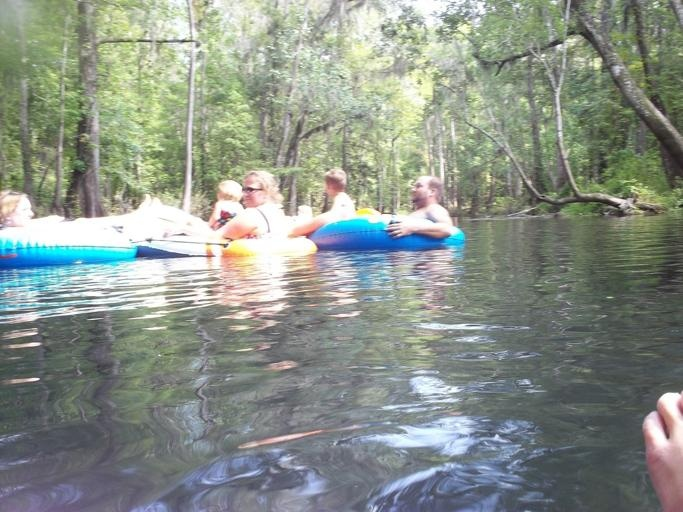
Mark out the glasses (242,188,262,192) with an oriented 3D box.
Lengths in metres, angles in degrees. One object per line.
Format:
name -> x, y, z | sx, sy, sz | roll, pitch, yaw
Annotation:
glasses -> -1.106, -0.805, 7.900 | 0.126, 0.023, 0.122 | 0, 2, 37

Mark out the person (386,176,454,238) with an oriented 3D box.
person -> 1.169, -0.652, 9.360 | 1.493, 0.680, 1.076 | 3, -1, -6
